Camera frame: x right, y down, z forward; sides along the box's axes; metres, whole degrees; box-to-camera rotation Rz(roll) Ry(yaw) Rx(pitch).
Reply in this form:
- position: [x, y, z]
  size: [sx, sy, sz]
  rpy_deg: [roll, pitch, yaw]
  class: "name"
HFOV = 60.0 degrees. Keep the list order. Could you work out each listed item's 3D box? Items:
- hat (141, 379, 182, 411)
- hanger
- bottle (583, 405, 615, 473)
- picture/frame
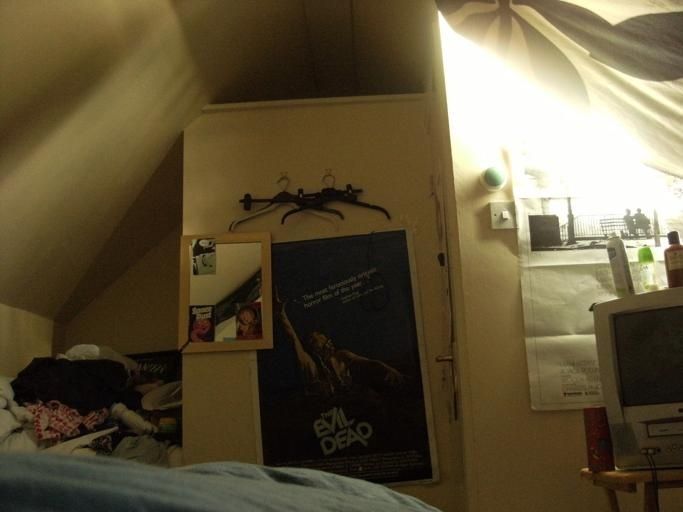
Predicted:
- position: [-1.076, 0.841, 3.555]
  size: [0.225, 0.139, 0.057]
  rpy_deg: [-10, -52, -12]
  class: "hat"
- position: [-0.193, -0.331, 3.495]
  size: [0.968, 0.316, 0.050]
  rpy_deg: [-3, -12, 1]
  class: "hanger"
- position: [1.048, 0.730, 2.410]
  size: [0.105, 0.284, 0.102]
  rpy_deg: [-8, 10, 2]
  class: "bottle"
- position: [-0.659, 0.240, 3.399]
  size: [0.612, 0.808, 0.027]
  rpy_deg: [-1, -13, 0]
  class: "picture/frame"
